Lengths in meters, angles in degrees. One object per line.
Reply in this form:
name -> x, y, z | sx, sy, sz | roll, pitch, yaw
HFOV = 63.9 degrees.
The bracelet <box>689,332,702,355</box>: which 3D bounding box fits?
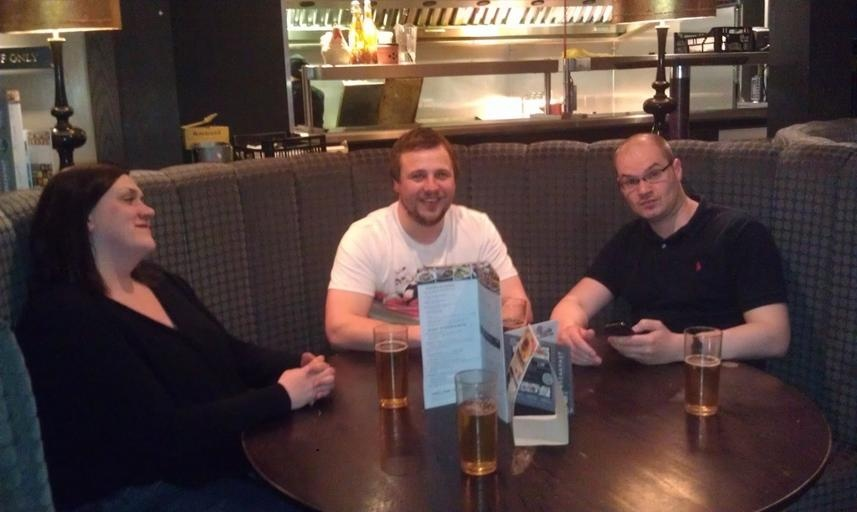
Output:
bracelet -> 0.867, 0.284, 2.233 | 0.055, 0.083, 0.053 | 1, 5, 24
